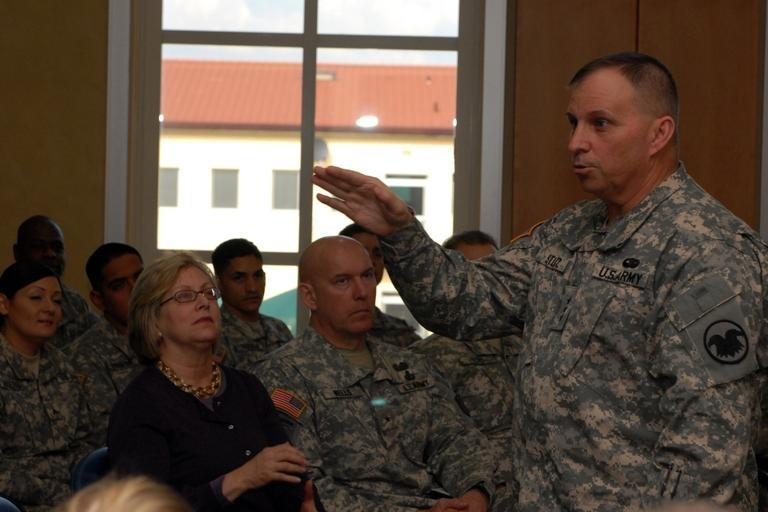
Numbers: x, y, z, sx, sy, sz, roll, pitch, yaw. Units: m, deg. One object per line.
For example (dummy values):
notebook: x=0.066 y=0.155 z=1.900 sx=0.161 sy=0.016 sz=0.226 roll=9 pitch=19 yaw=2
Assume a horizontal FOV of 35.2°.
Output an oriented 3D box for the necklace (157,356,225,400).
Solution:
necklace: x=-0.820 y=0.491 z=5.166 sx=0.203 sy=0.056 sz=0.172 roll=25 pitch=13 yaw=28

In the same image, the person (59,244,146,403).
person: x=-1.429 y=0.367 z=6.168 sx=0.312 sy=0.646 sz=0.773 roll=-6 pitch=-6 yaw=31
